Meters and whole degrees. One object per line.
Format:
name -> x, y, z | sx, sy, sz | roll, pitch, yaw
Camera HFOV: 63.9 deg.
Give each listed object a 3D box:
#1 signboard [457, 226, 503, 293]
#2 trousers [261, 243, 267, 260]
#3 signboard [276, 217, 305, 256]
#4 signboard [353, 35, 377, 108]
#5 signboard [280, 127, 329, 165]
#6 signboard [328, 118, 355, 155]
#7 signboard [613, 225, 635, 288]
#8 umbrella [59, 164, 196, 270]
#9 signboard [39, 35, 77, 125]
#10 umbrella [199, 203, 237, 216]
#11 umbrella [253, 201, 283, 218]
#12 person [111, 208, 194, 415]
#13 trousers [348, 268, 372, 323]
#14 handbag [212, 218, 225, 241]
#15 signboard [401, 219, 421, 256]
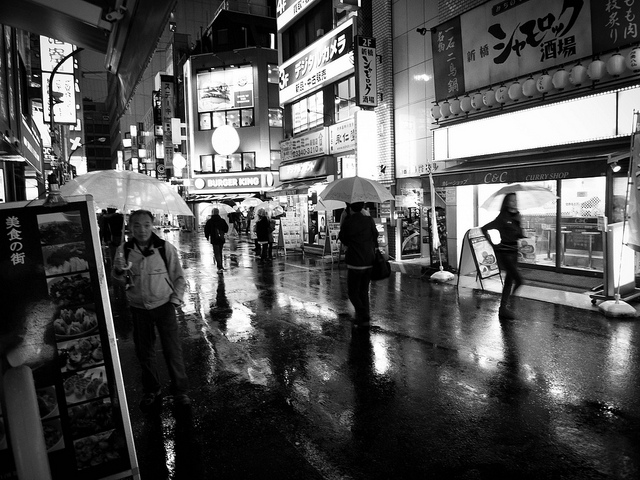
signboard -> 4.208, 0.465, 13.765 | 0.971, 1.569, 0.888 | 6, 11, 39
trousers -> -2.262, 0.468, 20.744 | 0.236, 0.678, 0.267 | -4, 9, -15
signboard -> -1.374, -0.130, 23.653 | 1.034, 1.762, 0.798 | -5, 10, -23
signboard -> 1.737, -6.357, 19.357 | 0.868, 2.524, 0.372 | -3, 9, -7
signboard -> -0.567, -4.635, 25.527 | 1.100, 1.353, 3.634 | -4, 1, -41
signboard -> 1.016, -4.358, 21.668 | 0.183, 1.267, 1.992 | -6, 5, -37
signboard -> 6.483, 0.323, 10.945 | 0.150, 1.497, 1.240 | 1, 3, 44
umbrella -> -2.965, -0.535, 7.661 | 1.497, 1.554, 1.528 | 5, -9, 36
signboard -> -10.470, -6.508, 20.562 | 1.417, 4.244, 0.046 | -4, -16, -28
umbrella -> -5.159, -1.476, 25.296 | 1.425, 0.609, 1.487 | -1, 8, 5
umbrella -> -2.425, -1.450, 24.101 | 0.944, 0.497, 0.980 | 3, 5, 21
person -> -2.394, 0.928, 7.326 | 0.947, 2.734, 1.302 | -4, 9, -17
trousers -> 0.815, 1.097, 10.203 | 0.498, 1.046, 0.366 | -3, 9, -8
handbag -> -3.658, -0.148, 18.476 | 0.335, 0.594, 0.590 | 2, -21, -19
signboard -> 3.328, -0.098, 18.725 | 0.646, 1.482, 1.437 | 0, 9, 12
